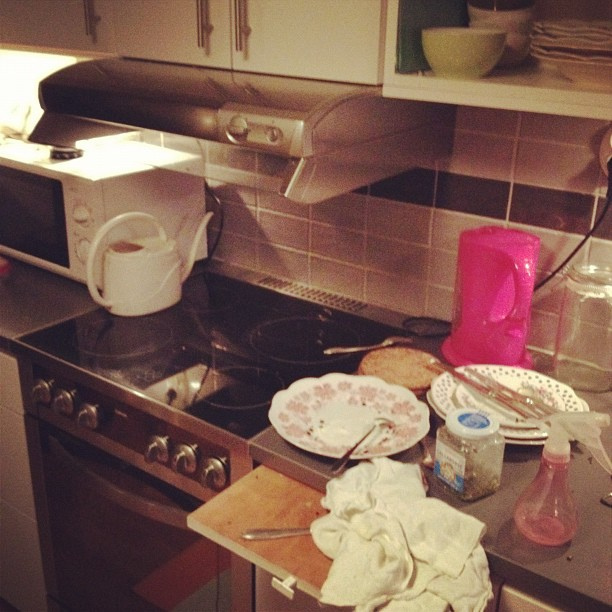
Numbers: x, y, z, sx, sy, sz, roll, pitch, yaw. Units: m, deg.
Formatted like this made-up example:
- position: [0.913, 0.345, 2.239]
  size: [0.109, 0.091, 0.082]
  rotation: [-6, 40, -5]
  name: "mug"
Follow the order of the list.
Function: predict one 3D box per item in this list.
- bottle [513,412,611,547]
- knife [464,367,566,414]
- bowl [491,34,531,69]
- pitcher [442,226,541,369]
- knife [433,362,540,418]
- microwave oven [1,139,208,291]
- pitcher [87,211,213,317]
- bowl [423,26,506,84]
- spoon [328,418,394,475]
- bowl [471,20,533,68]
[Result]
- position: [0.364, 0.250, 0.858]
  size: [0.127, 0.146, 0.069]
  rotation: [7, 11, 25]
  name: "bottle"
- position: [0.361, 0.149, 1.086]
  size: [0.052, 0.023, 0.190]
  rotation: [-22, 37, -39]
  name: "knife"
- position: [0.331, -0.412, 0.985]
  size: [0.059, 0.040, 0.060]
  rotation: [0, 28, 0]
  name: "bowl"
- position: [0.371, -0.005, 1.194]
  size: [0.185, 0.291, 0.103]
  rotation: [14, 28, 23]
  name: "pitcher"
- position: [0.322, 0.152, 1.083]
  size: [0.173, 0.025, 0.009]
  rotation: [34, 7, 30]
  name: "knife"
- position: [-0.557, -0.232, 1.711]
  size: [0.387, 0.381, 0.551]
  rotation: [-17, 27, -41]
  name: "microwave oven"
- position: [-0.368, -0.113, 1.533]
  size: [0.158, 0.224, 0.305]
  rotation: [25, 34, 35]
  name: "pitcher"
- position: [0.236, -0.378, 0.957]
  size: [0.095, 0.059, 0.101]
  rotation: [0, 22, 0]
  name: "bowl"
- position: [0.096, 0.209, 1.016]
  size: [0.044, 0.027, 0.187]
  rotation: [8, 33, 32]
  name: "spoon"
- position: [0.332, -0.434, 1.030]
  size: [0.084, 0.057, 0.086]
  rotation: [0, 28, 0]
  name: "bowl"
